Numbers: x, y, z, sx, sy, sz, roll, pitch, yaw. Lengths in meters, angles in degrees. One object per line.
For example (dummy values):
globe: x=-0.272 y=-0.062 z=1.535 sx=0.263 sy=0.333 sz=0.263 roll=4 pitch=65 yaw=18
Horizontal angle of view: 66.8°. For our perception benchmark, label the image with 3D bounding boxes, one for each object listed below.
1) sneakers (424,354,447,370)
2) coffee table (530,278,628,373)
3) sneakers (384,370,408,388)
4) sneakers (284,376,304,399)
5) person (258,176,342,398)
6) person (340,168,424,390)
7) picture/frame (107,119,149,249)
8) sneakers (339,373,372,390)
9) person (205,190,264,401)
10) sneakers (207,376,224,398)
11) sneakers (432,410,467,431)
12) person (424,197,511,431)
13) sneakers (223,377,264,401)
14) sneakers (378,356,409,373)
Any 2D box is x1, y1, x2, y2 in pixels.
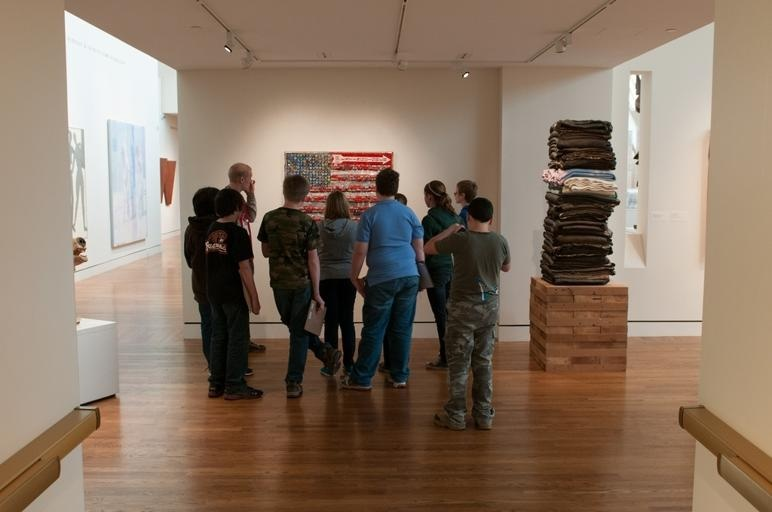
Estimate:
sneakers: x=0.502 y=1.111 z=6.145 sx=0.267 sy=0.160 sz=0.102 roll=1 pitch=2 yaw=23
coffee table: x=1.997 y=0.695 z=6.420 sx=0.976 sy=0.889 sz=0.940 roll=1 pitch=3 yaw=3
sneakers: x=0.107 y=1.152 z=5.593 sx=0.110 sy=0.134 sz=0.299 roll=-1 pitch=3 yaw=-5
sneakers: x=-0.813 y=1.184 z=5.214 sx=0.091 sy=0.096 sz=0.219 roll=0 pitch=3 yaw=0
person: x=-0.792 y=0.265 z=5.254 sx=0.569 sy=1.956 sz=0.493 roll=2 pitch=8 yaw=18
person: x=0.009 y=0.237 z=5.295 sx=0.777 sy=2.016 sz=0.384 roll=-1 pitch=8 yaw=-6
picture/frame: x=-5.977 y=-1.793 z=13.718 sx=0.056 sy=2.745 sz=2.892 roll=-4 pitch=6 yaw=-40
sneakers: x=-0.289 y=1.177 z=5.483 sx=0.291 sy=0.123 sz=0.122 roll=5 pitch=4 yaw=18
person: x=-1.331 y=0.343 z=5.137 sx=0.567 sy=1.860 sz=0.234 roll=2 pitch=8 yaw=14
sneakers: x=-1.523 y=1.176 z=5.274 sx=0.092 sy=0.105 sz=0.243 roll=1 pitch=3 yaw=1
sneakers: x=0.499 y=1.292 z=4.661 sx=0.110 sy=0.133 sz=0.282 roll=-2 pitch=7 yaw=-40
person: x=0.666 y=0.445 z=4.578 sx=0.587 sy=1.785 sz=0.325 roll=0 pitch=8 yaw=3
sneakers: x=-1.272 y=1.189 z=5.295 sx=0.427 sy=0.171 sz=0.143 roll=0 pitch=1 yaw=-18
sneakers: x=0.051 y=1.077 z=5.781 sx=0.143 sy=0.175 sz=0.405 roll=-3 pitch=2 yaw=-30
